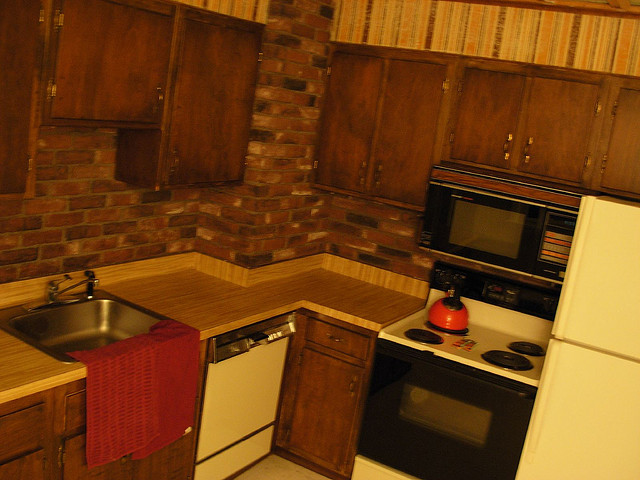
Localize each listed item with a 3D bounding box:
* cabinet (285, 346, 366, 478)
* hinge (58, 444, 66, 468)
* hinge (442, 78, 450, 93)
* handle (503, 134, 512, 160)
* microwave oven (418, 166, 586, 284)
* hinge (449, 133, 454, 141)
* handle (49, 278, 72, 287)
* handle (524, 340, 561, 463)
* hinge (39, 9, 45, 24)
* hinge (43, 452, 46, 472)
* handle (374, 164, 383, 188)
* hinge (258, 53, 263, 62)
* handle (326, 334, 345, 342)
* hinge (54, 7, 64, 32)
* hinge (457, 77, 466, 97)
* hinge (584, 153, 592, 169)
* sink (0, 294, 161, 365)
[{"bbox_3d":[0.037,0.991,3.059,0.572,0.676,0.497,11,17,32],"label":"cabinet"},{"bbox_3d":[-1.019,0.845,1.908,0.010,0.099,0.028,22,20,39],"label":"hinge"},{"bbox_3d":[0.755,-0.926,2.902,0.040,0.085,0.013,10,15,6],"label":"hinge"},{"bbox_3d":[1.083,-0.539,2.802,0.041,0.144,0.020,19,18,34],"label":"handle"},{"bbox_3d":[1.156,0.028,3.072,1.273,0.581,0.714,13,15,29],"label":"microwave oven"},{"bbox_3d":[0.793,-0.621,2.919,0.029,0.045,0.011,11,15,12],"label":"hinge"},{"bbox_3d":[-1.252,0.203,2.335,0.092,0.016,0.041,-1,12,-8],"label":"handle"},{"bbox_3d":[0.992,0.786,2.343,0.216,0.480,0.218,6,18,21],"label":"handle"},{"bbox_3d":[-1.039,-0.831,1.806,0.006,0.049,0.018,14,16,18],"label":"hinge"},{"bbox_3d":[-1.061,0.850,1.861,0.005,0.077,0.012,14,16,19],"label":"hinge"},{"bbox_3d":[0.374,-0.413,3.113,0.041,0.150,0.021,14,16,20],"label":"handle"},{"bbox_3d":[-0.346,-1.062,2.812,0.046,0.034,0.011,-5,17,-41],"label":"hinge"},{"bbox_3d":[0.085,0.576,2.853,0.065,0.011,0.053,7,11,28],"label":"handle"},{"bbox_3d":[-1.011,-0.849,1.875,0.007,0.088,0.034,19,18,32],"label":"hinge"},{"bbox_3d":[0.840,-0.913,2.883,0.028,0.085,0.106,16,25,34],"label":"hinge"},{"bbox_3d":[1.464,-0.435,2.653,0.037,0.082,0.018,13,16,18],"label":"hinge"},{"bbox_3d":[-1.095,0.448,2.237,0.464,0.225,0.574,10,13,24],"label":"sink"}]
